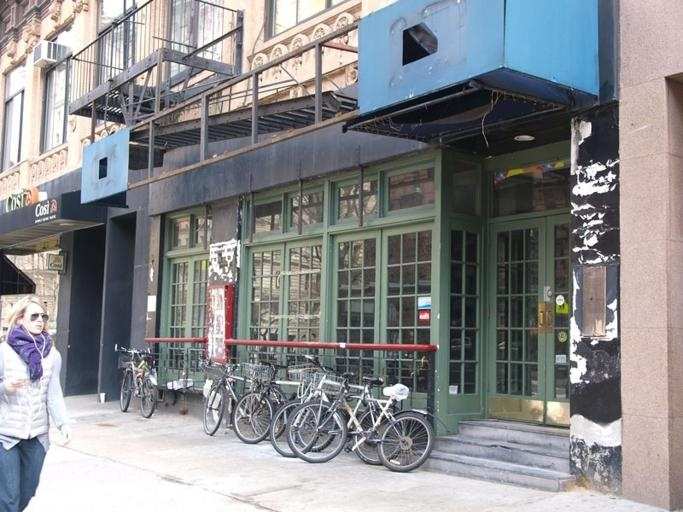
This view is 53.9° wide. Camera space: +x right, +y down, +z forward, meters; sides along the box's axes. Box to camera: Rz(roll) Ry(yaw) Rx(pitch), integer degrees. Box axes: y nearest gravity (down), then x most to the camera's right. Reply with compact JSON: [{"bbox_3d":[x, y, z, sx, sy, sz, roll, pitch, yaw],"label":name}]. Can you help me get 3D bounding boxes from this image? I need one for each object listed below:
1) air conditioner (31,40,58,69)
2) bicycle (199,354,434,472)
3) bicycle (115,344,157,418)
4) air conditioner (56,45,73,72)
[{"bbox_3d":[-8.927,-5.803,19.988,0.568,0.822,1.142,2,-7,-37],"label":"air conditioner"},{"bbox_3d":[-0.289,2.116,9.076,1.128,1.212,3.327,-2,1,-36],"label":"bicycle"},{"bbox_3d":[-4.054,2.477,13.325,0.655,1.085,1.725,3,-1,-28],"label":"bicycle"},{"bbox_3d":[-8.276,-5.864,19.839,0.295,0.611,1.414,-2,1,-33],"label":"air conditioner"}]
